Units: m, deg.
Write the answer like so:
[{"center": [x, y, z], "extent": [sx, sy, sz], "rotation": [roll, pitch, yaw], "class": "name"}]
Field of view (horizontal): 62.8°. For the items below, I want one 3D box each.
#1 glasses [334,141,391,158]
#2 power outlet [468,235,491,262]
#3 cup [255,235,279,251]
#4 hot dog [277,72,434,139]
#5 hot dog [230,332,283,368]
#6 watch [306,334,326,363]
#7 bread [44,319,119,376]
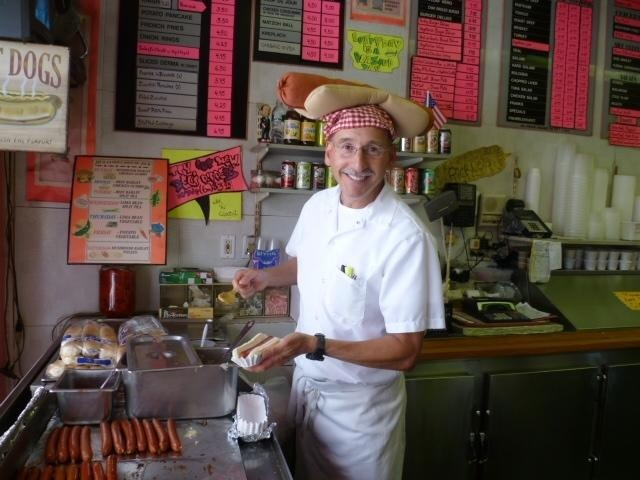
[{"center": [0.194, -0.373, 2.196], "extent": [0.249, 0.058, 0.089], "rotation": [0, 3, -10], "class": "glasses"}, {"center": [1.126, 0.061, 3.791], "extent": [0.174, 0.202, 0.148], "rotation": [-1, 3, -10], "class": "power outlet"}, {"center": [-0.324, 0.028, 3.254], "extent": [0.142, 0.093, 0.077], "rotation": [1, -4, -4], "class": "cup"}, {"center": [0.185, -0.578, 2.237], "extent": [0.458, 0.121, 0.334], "rotation": [7, 7, -24], "class": "hot dog"}, {"center": [-0.235, 0.412, 2.005], "extent": [0.163, 0.063, 0.124], "rotation": [-40, 26, -32], "class": "hot dog"}, {"center": [-0.003, 0.420, 2.036], "extent": [0.072, 0.106, 0.105], "rotation": [11, 32, -6], "class": "watch"}, {"center": [-1.083, 0.494, 2.481], "extent": [0.218, 0.089, 0.285], "rotation": [1, 8, -17], "class": "bread"}]
